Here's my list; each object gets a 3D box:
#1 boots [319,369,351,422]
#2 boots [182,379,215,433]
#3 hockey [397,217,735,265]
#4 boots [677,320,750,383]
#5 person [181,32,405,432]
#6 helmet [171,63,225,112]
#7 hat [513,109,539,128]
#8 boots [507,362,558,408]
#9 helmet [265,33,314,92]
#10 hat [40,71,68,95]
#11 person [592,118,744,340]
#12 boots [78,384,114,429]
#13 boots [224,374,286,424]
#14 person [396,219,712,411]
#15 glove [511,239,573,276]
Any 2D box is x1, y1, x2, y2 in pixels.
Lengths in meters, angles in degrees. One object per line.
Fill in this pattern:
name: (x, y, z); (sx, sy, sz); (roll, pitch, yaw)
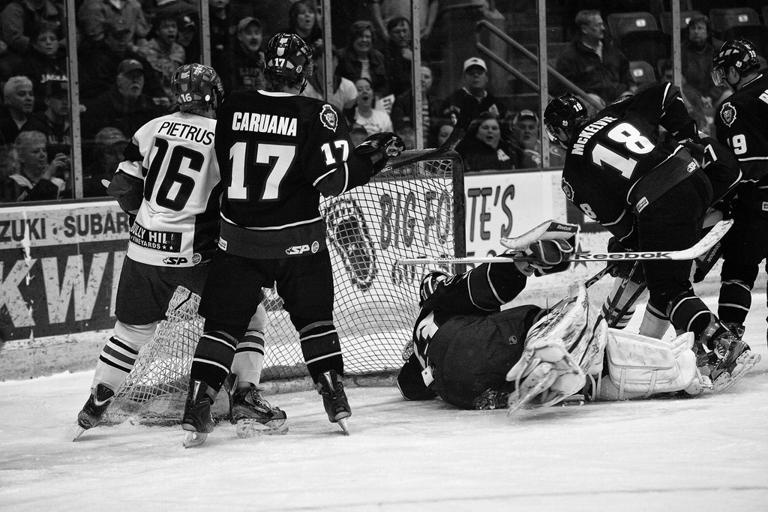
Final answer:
boots: (-0.253, 0.727, 5.185); (0.119, 0.314, 0.148); (-17, 16, 1)
boots: (-0.952, 0.780, 5.125); (0.137, 0.234, 0.262); (10, -7, 5)
hockey: (1.013, -0.052, 5.503); (1.788, 0.234, 0.348); (-1, -7, 13)
boots: (1.991, 0.579, 5.934); (0.323, 0.225, 0.672); (32, 7, 8)
person: (-0.517, 0.027, 5.156); (0.998, 1.785, 0.302); (0, 1, -2)
helmet: (-1.036, -0.912, 5.462); (0.275, 0.271, 0.315); (1, 17, 5)
hat: (1.239, -1.189, 8.550); (0.135, 0.089, 0.178); (2, -28, 0)
boots: (0.779, 0.697, 5.219); (0.197, 0.270, 0.109); (36, 4, 28)
helmet: (-0.544, -1.054, 5.331); (0.286, 0.303, 0.325); (3, 17, -6)
hat: (-2.326, -1.221, 6.937); (0.169, 0.115, 0.139); (3, 2, 44)
person: (1.735, -0.186, 5.957); (0.631, 0.556, 1.473); (-7, 28, 40)
boots: (-1.589, 0.841, 5.472); (0.084, 0.264, 0.108); (33, 16, -18)
boots: (-0.665, 0.794, 5.461); (0.356, 0.224, 0.112); (5, 11, 21)
person: (0.960, 0.373, 5.386); (1.395, 1.105, 0.583); (1, -40, -8)
glove: (0.896, 0.015, 5.411); (0.216, 0.107, 0.247); (3, -16, -31)
